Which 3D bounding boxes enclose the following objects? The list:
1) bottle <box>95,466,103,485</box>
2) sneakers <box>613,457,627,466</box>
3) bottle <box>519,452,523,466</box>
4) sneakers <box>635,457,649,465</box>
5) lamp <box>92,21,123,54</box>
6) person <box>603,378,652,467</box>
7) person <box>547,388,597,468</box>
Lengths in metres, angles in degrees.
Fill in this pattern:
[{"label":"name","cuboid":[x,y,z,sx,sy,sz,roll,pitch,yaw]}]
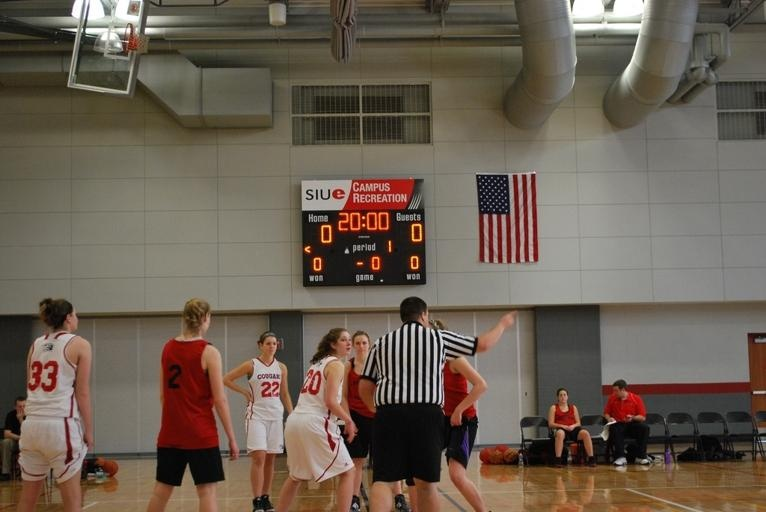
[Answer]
[{"label":"bottle","cuboid":[-5.604,4.354,16.916,0.188,0.310,0.189,0,-13,0]},{"label":"sneakers","cuboid":[4.803,4.156,17.231,0.272,0.169,0.305,-2,-10,5]},{"label":"bottle","cuboid":[2.867,4.186,17.572,0.078,0.225,0.226,-7,-12,30]},{"label":"sneakers","cuboid":[5.274,4.196,17.395,0.099,0.107,0.268,9,-22,-26]},{"label":"lamp","cuboid":[-4.793,-3.779,14.946,0.460,0.498,0.456,8,-1,-15]},{"label":"person","cuboid":[5.106,3.572,17.907,1.059,2.212,1.372,-1,-39,14]},{"label":"person","cuboid":[3.878,3.538,17.632,0.897,1.534,0.626,-3,-10,11]}]
